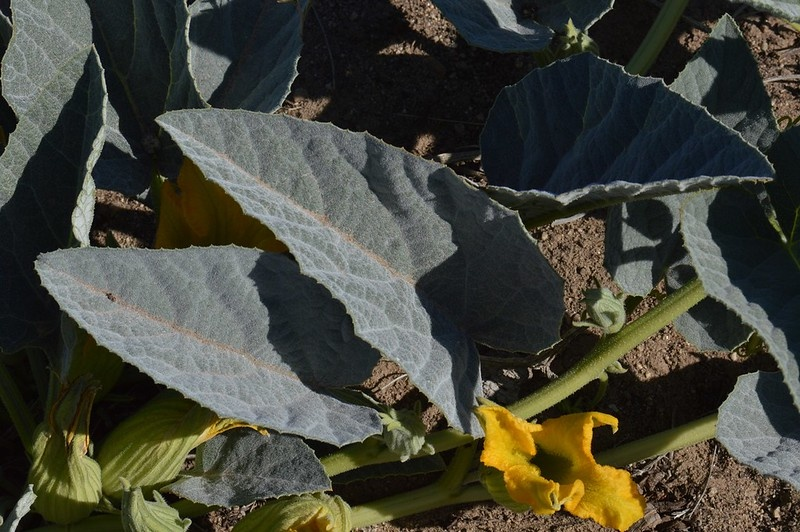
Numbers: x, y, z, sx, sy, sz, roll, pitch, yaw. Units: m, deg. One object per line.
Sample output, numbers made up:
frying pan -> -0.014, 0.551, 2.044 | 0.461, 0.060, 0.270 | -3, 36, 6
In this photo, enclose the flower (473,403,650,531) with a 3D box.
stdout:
flower -> 0.282, 0.356, 1.555 | 0.242, 0.104, 0.252 | 21, 15, 23
